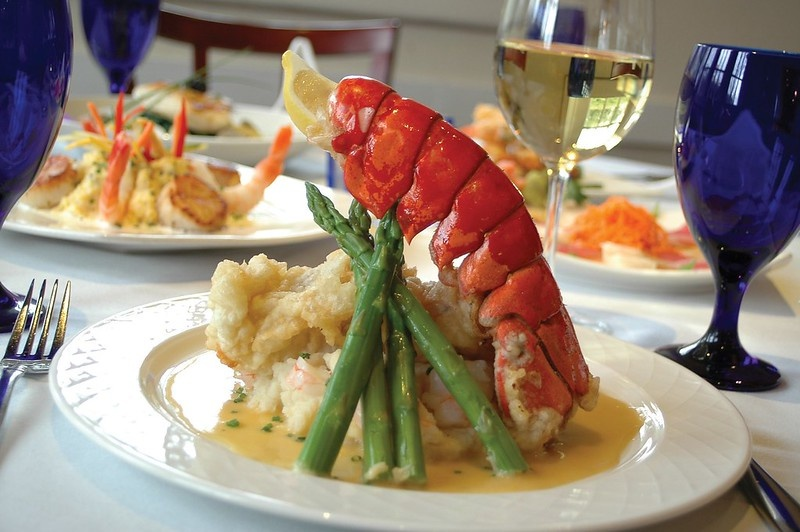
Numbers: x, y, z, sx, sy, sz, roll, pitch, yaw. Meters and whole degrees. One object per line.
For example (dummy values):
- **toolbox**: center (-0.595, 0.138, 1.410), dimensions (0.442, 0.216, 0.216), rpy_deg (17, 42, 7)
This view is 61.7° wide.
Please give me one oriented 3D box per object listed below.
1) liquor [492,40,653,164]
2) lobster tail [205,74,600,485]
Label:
- **liquor**: center (0.322, -0.300, 1.336), dimensions (0.220, 0.266, 0.219), rpy_deg (7, 25, 0)
- **lobster tail**: center (-0.017, -0.022, 0.943), dimensions (0.550, 0.466, 0.359), rpy_deg (10, 33, 8)
